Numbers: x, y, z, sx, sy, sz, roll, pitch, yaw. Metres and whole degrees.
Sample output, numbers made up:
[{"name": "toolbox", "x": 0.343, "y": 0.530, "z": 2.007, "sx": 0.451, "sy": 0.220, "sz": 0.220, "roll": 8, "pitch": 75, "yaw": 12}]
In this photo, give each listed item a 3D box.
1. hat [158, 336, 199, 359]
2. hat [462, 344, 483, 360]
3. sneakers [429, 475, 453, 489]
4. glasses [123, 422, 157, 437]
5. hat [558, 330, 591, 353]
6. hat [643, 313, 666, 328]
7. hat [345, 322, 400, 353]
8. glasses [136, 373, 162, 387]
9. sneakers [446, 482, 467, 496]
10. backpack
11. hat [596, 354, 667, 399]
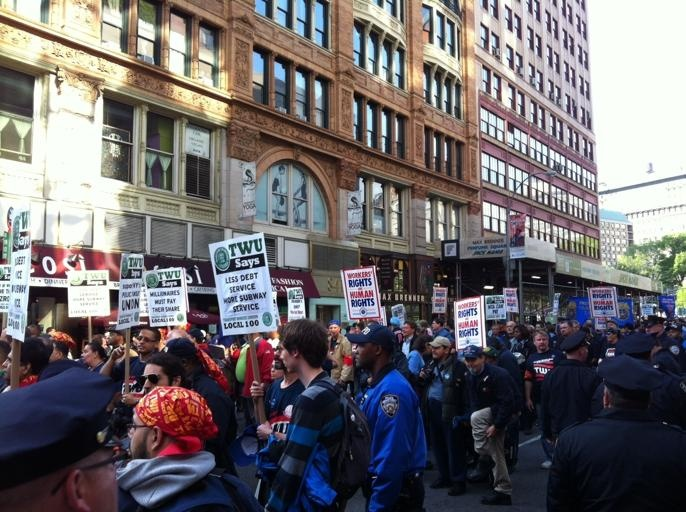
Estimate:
[{"name": "hat", "x": -1.694, "y": 0.956, "z": 7.086, "sx": 0.273, "sy": 0.172, "sz": 0.208, "roll": 3, "pitch": 3, "yaw": 7}, {"name": "hat", "x": 1.938, "y": 1.459, "z": 10.238, "sx": 0.232, "sy": 0.215, "sz": 0.364, "roll": -6, "pitch": -8, "yaw": 32}, {"name": "sneakers", "x": 1.534, "y": 3.601, "z": 10.847, "sx": 0.366, "sy": 0.178, "sz": 0.134, "roll": 2, "pitch": -4, "yaw": -7}, {"name": "glasses", "x": -1.407, "y": 1.203, "z": 4.745, "sx": 0.165, "sy": 0.053, "sz": 0.177, "roll": 2, "pitch": -11, "yaw": 5}, {"name": "hat", "x": 3.102, "y": 1.179, "z": 9.259, "sx": 0.339, "sy": 0.302, "sz": 0.383, "roll": -4, "pitch": -7, "yaw": 18}, {"name": "hat", "x": 6.113, "y": 1.323, "z": 13.426, "sx": 0.347, "sy": 0.233, "sz": 0.294, "roll": 9, "pitch": -16, "yaw": -41}, {"name": "hat", "x": 0.306, "y": 0.822, "z": 6.985, "sx": 0.391, "sy": 0.178, "sz": 0.268, "roll": 5, "pitch": -4, "yaw": 12}, {"name": "glasses", "x": -1.808, "y": 1.162, "z": 6.362, "sx": 0.089, "sy": 0.112, "sz": 0.276, "roll": 4, "pitch": -9, "yaw": -40}, {"name": "sneakers", "x": 1.728, "y": 3.531, "z": 10.371, "sx": 0.317, "sy": 0.177, "sz": 0.240, "roll": -1, "pitch": -7, "yaw": -7}, {"name": "backpack", "x": 0.056, "y": 1.548, "z": 5.643, "sx": 0.377, "sy": 0.868, "sz": 0.160, "roll": 4, "pitch": -8, "yaw": -40}, {"name": "hat", "x": 2.244, "y": 0.928, "z": 5.368, "sx": 0.455, "sy": 0.290, "sz": 0.286, "roll": -5, "pitch": -7, "yaw": 22}]
